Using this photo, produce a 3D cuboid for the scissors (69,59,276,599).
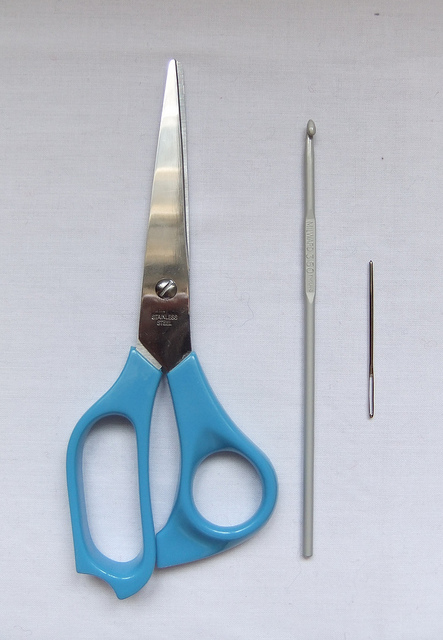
[{"bbox_3d":[-0.041,0.002,0.683,0.169,0.454,0.041,-1,-4,2],"label":"scissors"}]
